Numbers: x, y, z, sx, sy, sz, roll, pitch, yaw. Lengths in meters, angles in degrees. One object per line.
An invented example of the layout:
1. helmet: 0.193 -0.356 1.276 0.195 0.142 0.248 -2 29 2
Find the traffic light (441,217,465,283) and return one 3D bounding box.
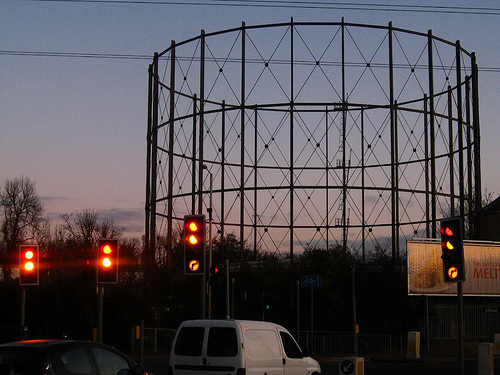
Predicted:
1. traffic light: 7.576 2.363 33.247 0.803 2.403 0.609 -5 -9 25
